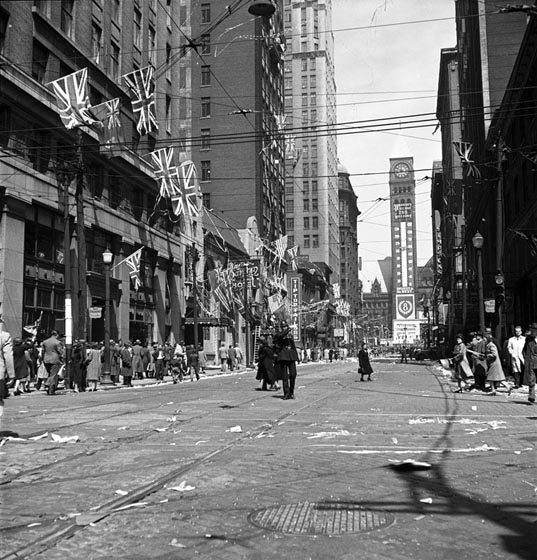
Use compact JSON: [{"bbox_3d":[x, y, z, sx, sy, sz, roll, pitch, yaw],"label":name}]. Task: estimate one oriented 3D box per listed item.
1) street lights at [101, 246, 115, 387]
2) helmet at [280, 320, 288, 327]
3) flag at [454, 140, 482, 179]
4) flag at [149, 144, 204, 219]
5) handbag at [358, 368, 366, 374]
[{"bbox_3d":[-5.485,1.323,29.824,0.577,4.790,0.645,-2,-8,7],"label":"street lights"},{"bbox_3d":[0.357,1.053,21.518,0.151,0.192,0.175,-2,-2,18],"label":"helmet"},{"bbox_3d":[12.291,-7.541,52.562,1.676,0.263,2.957,21,-10,25],"label":"flag"},{"bbox_3d":[-4.326,-4.448,41.428,1.800,3.241,4.764,-5,-9,-3],"label":"flag"},{"bbox_3d":[3.425,3.329,32.188,0.218,0.302,0.194,9,-6,13],"label":"handbag"}]
